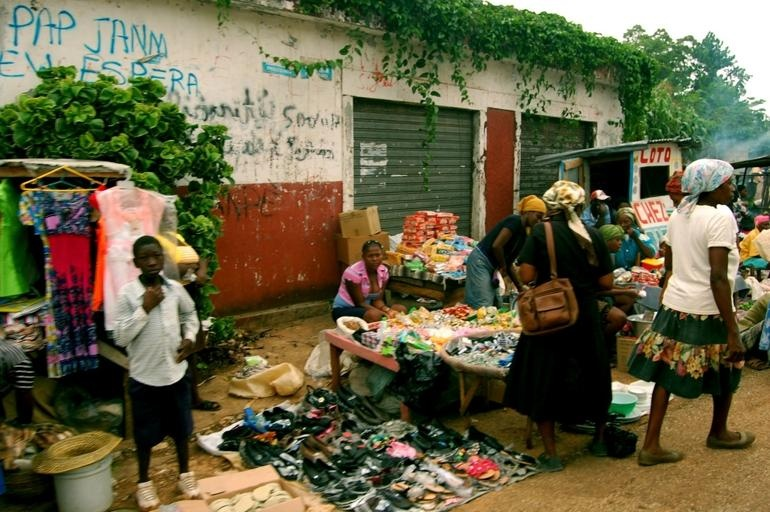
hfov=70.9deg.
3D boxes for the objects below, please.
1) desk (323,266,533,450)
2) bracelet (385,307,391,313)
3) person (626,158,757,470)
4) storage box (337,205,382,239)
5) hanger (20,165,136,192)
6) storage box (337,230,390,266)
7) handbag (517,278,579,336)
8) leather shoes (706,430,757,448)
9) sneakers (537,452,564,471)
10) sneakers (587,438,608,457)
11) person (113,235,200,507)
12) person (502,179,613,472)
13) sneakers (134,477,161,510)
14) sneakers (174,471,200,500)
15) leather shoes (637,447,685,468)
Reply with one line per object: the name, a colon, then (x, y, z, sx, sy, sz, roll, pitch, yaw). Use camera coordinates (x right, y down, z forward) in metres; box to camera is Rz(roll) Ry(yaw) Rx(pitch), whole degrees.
desk: (0.637, 1.041, 5.876, 1.528, 0.769, 1.916, -11, 15, -41)
bracelet: (0.044, 0.736, 7.241, 0.063, 0.049, 0.061, -9, 8, -44)
person: (2.882, 0.533, 5.071, 1.051, 2.850, 0.622, 0, 9, 8)
storage box: (-0.499, -0.617, 9.738, 0.706, 0.405, 0.646, -6, 3, 22)
hanger: (-3.243, -0.815, 5.683, 0.514, 0.256, 0.997, 4, 9, 35)
storage box: (-0.428, -0.149, 9.646, 0.763, 0.385, 0.769, 5, 9, 41)
handbag: (1.497, 0.468, 4.883, 0.511, 0.447, 0.303, -19, -19, 26)
leather shoes: (3.375, 1.794, 5.266, 0.413, 0.113, 0.174, -5, 10, 6)
sneakers: (1.539, 1.934, 5.139, 0.125, 0.107, 0.271, -6, 5, -39)
sneakers: (2.083, 1.876, 5.280, 0.093, 0.081, 0.225, 1, 4, 16)
person: (-2.006, 1.193, 4.903, 0.697, 2.089, 0.377, -6, 10, -28)
person: (1.623, 0.425, 5.051, 0.974, 2.212, 0.499, 0, 9, 9)
sneakers: (-2.152, 2.155, 4.933, 0.181, 0.160, 0.292, -6, 5, -40)
sneakers: (-1.793, 2.097, 4.957, 0.140, 0.128, 0.363, -7, 0, -36)
leather shoes: (2.581, 1.896, 5.099, 0.485, 0.131, 0.154, -3, 3, -5)
